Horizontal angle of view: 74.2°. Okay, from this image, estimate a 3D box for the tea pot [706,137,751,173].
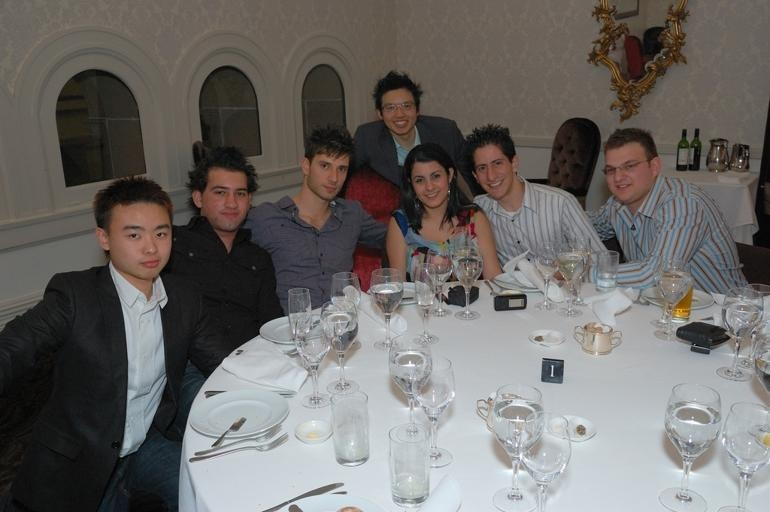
[{"bbox_3d":[2.999,-0.889,4.492,0.184,0.328,0.348,-6,7,-43],"label":"tea pot"}]

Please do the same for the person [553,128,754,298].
[{"bbox_3d":[1.533,-0.242,3.039,1.020,0.994,1.103,-6,9,-3],"label":"person"}]

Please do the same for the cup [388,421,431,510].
[{"bbox_3d":[0.065,0.560,1.354,0.108,0.191,0.082,-3,9,3],"label":"cup"}]

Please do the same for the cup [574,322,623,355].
[{"bbox_3d":[0.794,0.307,1.918,0.165,0.084,0.105,1,-1,12],"label":"cup"}]

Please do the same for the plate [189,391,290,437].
[{"bbox_3d":[-0.469,0.494,1.592,0.271,0.039,0.278,-2,11,-38],"label":"plate"}]

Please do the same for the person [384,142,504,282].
[{"bbox_3d":[0.334,-0.132,3.069,0.615,0.930,0.646,-8,21,4],"label":"person"}]

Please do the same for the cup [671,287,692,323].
[{"bbox_3d":[1.222,0.204,2.116,0.083,0.146,0.086,6,-9,1],"label":"cup"}]

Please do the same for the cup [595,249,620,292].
[{"bbox_3d":[1.008,0.069,2.344,0.105,0.196,0.108,-2,8,0],"label":"cup"}]

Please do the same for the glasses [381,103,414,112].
[{"bbox_3d":[0.101,-1.084,3.696,0.207,0.058,0.041,-4,9,3],"label":"glasses"}]
